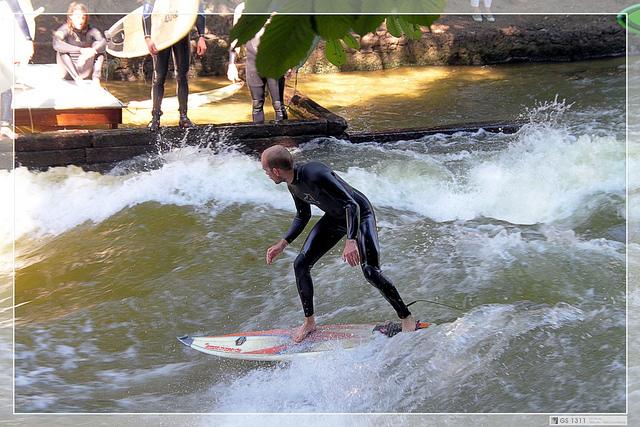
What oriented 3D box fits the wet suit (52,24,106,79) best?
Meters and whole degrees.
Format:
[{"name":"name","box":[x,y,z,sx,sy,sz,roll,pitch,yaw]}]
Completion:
[{"name":"wet suit","box":[-4.355,-2.925,11.795,0.933,0.986,0.360,-9,12,-13]}]

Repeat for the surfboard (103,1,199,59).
[{"name":"surfboard","box":[-3.105,-3.339,11.726,2.046,0.944,0.741,2,14,38]}]

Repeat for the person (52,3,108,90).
[{"name":"person","box":[-4.363,-2.985,11.787,0.966,1.499,0.497,-10,12,-13]}]
